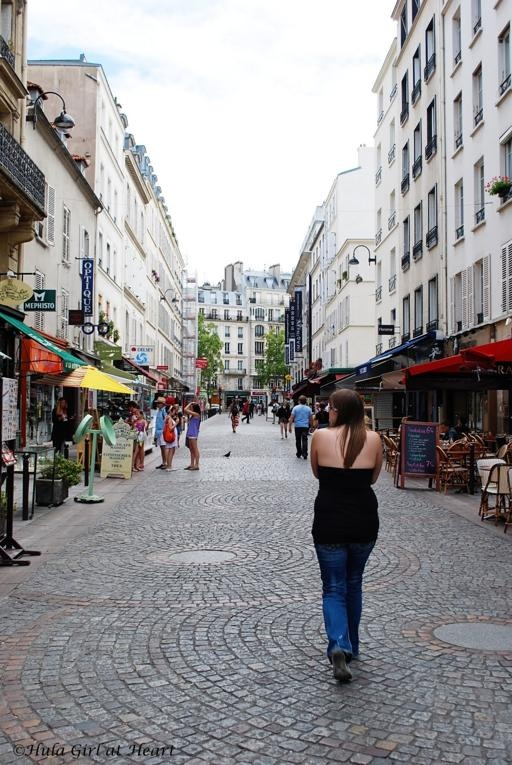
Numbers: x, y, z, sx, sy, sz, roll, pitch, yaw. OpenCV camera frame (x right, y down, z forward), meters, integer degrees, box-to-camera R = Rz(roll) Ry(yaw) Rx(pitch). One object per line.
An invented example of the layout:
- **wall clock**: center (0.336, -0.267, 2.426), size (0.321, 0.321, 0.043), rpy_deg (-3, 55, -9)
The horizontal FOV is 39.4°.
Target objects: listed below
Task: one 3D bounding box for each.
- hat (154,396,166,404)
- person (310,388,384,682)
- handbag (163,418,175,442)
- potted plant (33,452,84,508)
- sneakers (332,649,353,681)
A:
- **hat**: center (-2.376, 0.426, 17.122), size (0.355, 0.150, 0.317), rpy_deg (8, 1, 18)
- **person**: center (0.458, 0.769, 3.753), size (0.370, 1.481, 0.427), rpy_deg (-1, -3, 33)
- **handbag**: center (-2.024, 1.096, 16.578), size (0.245, 0.633, 0.496), rpy_deg (-3, 8, -12)
- **potted plant**: center (-3.081, 1.461, 10.884), size (0.449, 0.776, 0.844), rpy_deg (0, -3, 13)
- **sneakers**: center (0.421, 1.412, 3.560), size (0.071, 0.199, 0.082), rpy_deg (-2, 28, 10)
